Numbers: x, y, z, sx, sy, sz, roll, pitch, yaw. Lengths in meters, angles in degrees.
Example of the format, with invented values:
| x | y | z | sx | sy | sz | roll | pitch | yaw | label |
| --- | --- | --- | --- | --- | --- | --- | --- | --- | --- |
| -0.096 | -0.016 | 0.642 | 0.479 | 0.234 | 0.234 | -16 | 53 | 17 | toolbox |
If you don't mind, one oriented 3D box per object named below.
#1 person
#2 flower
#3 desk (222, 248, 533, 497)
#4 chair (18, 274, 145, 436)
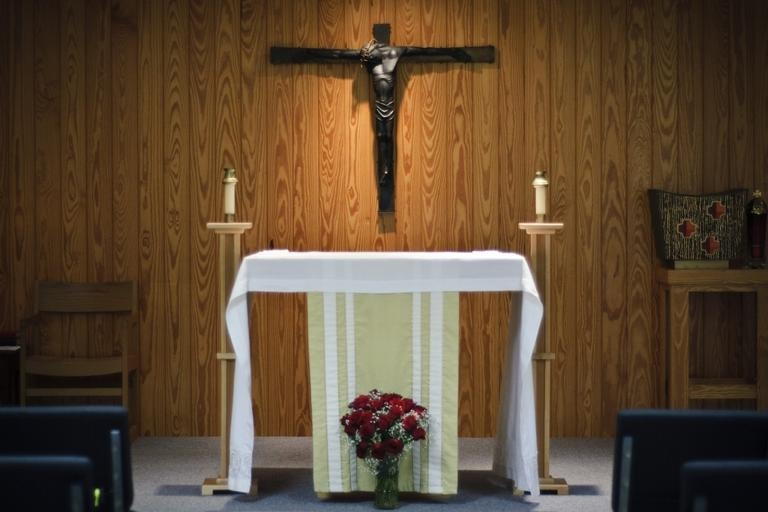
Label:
| x | y | z | sx | sy | sz | roll | pitch | yaw | label |
| --- | --- | --- | --- | --- | --- | --- | --- | --- | --- |
| -0.008 | -0.926 | 6.176 | 1.478 | 1.240 | 0.277 | 2 | 11 | 10 | person |
| -0.011 | 0.927 | 5.175 | 0.411 | 0.491 | 0.431 | -3 | 4 | -23 | flower |
| 0.118 | 1.069 | 5.754 | 1.749 | 1.567 | 1.301 | 0 | -5 | 0 | desk |
| -1.993 | 0.703 | 5.978 | 0.725 | 1.082 | 0.712 | 0 | -2 | 1 | chair |
